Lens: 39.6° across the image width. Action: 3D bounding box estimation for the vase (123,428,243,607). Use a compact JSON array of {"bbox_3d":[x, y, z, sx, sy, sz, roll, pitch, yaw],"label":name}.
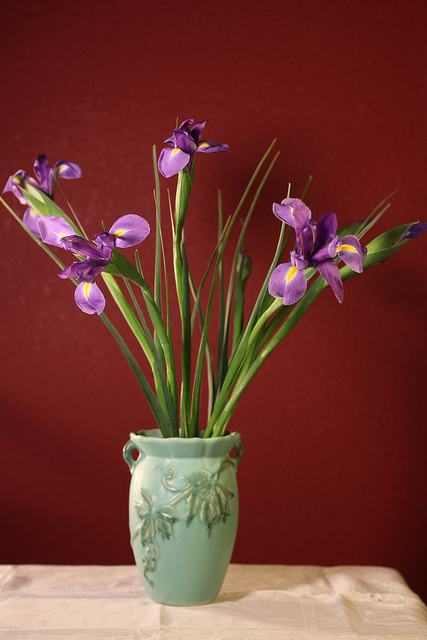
[{"bbox_3d":[-0.035,0.304,0.999,0.239,0.320,0.222,0,-7,-9],"label":"vase"}]
